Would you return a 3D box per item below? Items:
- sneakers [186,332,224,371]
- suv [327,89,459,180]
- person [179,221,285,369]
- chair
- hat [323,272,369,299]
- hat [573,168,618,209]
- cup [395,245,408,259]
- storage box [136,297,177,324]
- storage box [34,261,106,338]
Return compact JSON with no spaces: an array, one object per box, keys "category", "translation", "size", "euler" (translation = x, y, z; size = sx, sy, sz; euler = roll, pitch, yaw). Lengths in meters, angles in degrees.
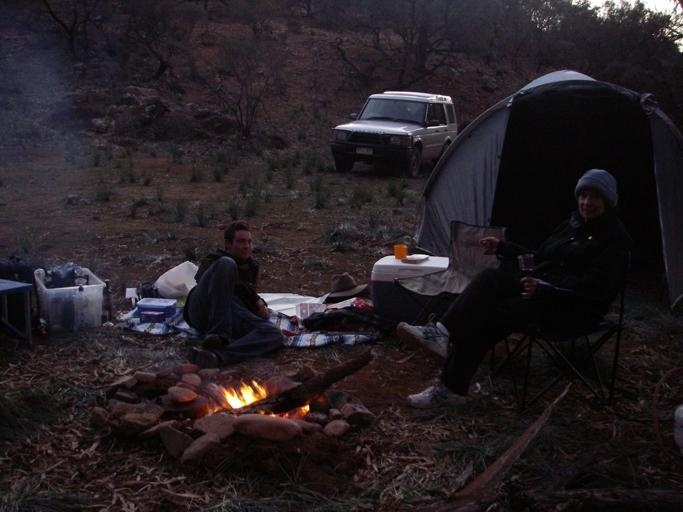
[{"category":"sneakers","translation":[-1.196,0.825,5.509],"size":[0.294,0.253,0.507],"euler":[2,6,-12]},{"category":"suv","translation":[1.497,-3.088,15.525],"size":[1.936,1.415,3.104],"euler":[8,14,25]},{"category":"person","translation":[-0.976,0.303,5.779],"size":[0.903,1.215,0.848],"euler":[1,6,-17]},{"category":"chair","translation":[1.380,0.408,4.782],"size":[1.409,1.477,0.630],"euler":[2,6,-11]},{"category":"hat","translation":[0.027,0.333,6.822],"size":[0.285,0.127,0.338],"euler":[-23,9,-38]},{"category":"hat","translation":[2.049,-0.545,4.888],"size":[0.338,0.251,0.285],"euler":[28,-13,-30]},{"category":"cup","translation":[0.600,-0.038,6.336],"size":[0.156,0.141,0.130],"euler":[2,19,2]},{"category":"storage box","translation":[-1.887,0.551,6.356],"size":[0.389,0.191,0.422],"euler":[2,6,-6]},{"category":"storage box","translation":[-2.600,0.418,5.968],"size":[0.560,0.438,0.701],"euler":[-4,10,-33]}]
